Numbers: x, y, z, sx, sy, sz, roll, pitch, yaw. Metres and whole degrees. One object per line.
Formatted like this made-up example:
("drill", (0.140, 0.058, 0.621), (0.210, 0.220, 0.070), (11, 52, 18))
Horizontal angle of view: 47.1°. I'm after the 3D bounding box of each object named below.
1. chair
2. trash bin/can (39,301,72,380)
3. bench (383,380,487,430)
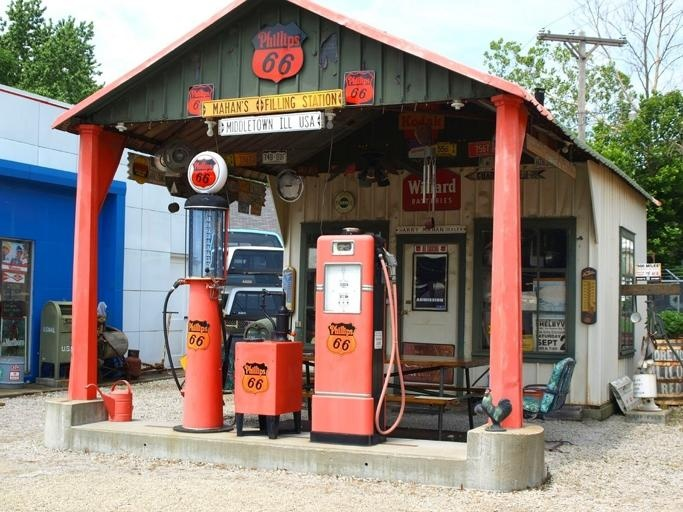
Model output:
("chair", (2.581, 1.841, 10.153), (0.740, 1.099, 0.838), (6, -1, -44))
("trash bin/can", (-5.210, 1.509, 14.146), (0.595, 1.330, 0.457), (1, 0, -8))
("bench", (1.349, 1.902, 10.599), (1.291, 1.248, 0.937), (0, -3, 17))
